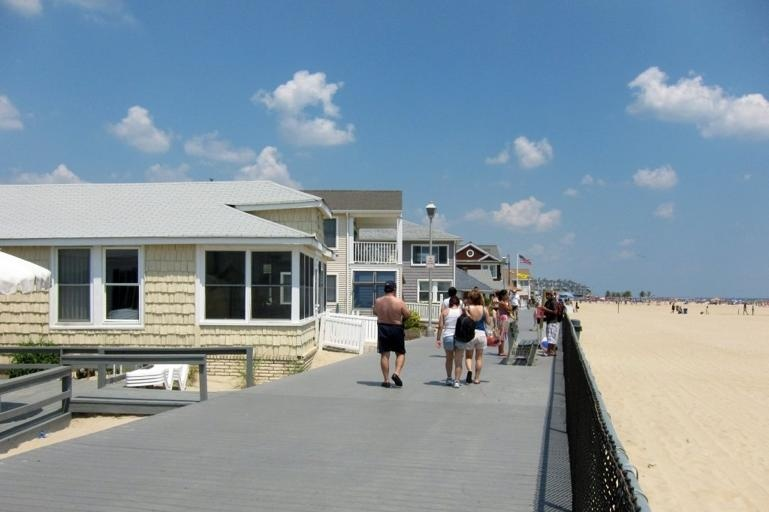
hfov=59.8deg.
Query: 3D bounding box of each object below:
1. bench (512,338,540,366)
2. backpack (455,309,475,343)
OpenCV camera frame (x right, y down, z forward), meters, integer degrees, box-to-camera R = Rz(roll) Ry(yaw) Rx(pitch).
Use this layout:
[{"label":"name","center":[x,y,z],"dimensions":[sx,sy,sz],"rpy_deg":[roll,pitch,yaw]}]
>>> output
[{"label":"bench","center":[4.395,3.006,20.665],"dimensions":[0.530,0.530,2.871],"rpy_deg":[-4,-4,12]},{"label":"backpack","center":[1.993,1.824,15.915],"dimensions":[0.365,0.704,0.521],"rpy_deg":[0,-21,21]}]
